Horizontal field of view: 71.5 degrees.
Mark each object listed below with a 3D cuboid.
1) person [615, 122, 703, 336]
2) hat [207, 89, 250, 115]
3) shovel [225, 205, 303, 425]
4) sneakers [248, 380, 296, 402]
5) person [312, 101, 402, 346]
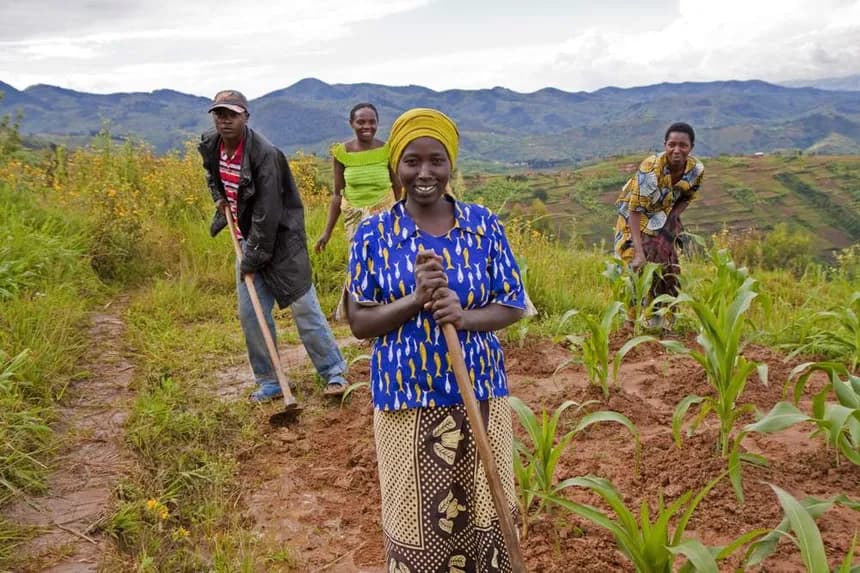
[{"bbox_3d":[2.590,-0.775,6.782,0.873,2.143,1.139,5,27,24],"label":"person"},{"bbox_3d":[-1.781,-1.609,5.219,0.312,0.216,0.202,-14,26,-17],"label":"hat"},{"bbox_3d":[-1.615,0.302,5.807,0.424,2.343,0.344,-23,-6,-1],"label":"shovel"},{"bbox_3d":[-1.584,1.016,5.827,0.481,0.211,0.176,7,-11,-28],"label":"sneakers"},{"bbox_3d":[-0.677,-0.817,6.838,1.250,2.529,0.616,0,31,-2],"label":"person"}]
